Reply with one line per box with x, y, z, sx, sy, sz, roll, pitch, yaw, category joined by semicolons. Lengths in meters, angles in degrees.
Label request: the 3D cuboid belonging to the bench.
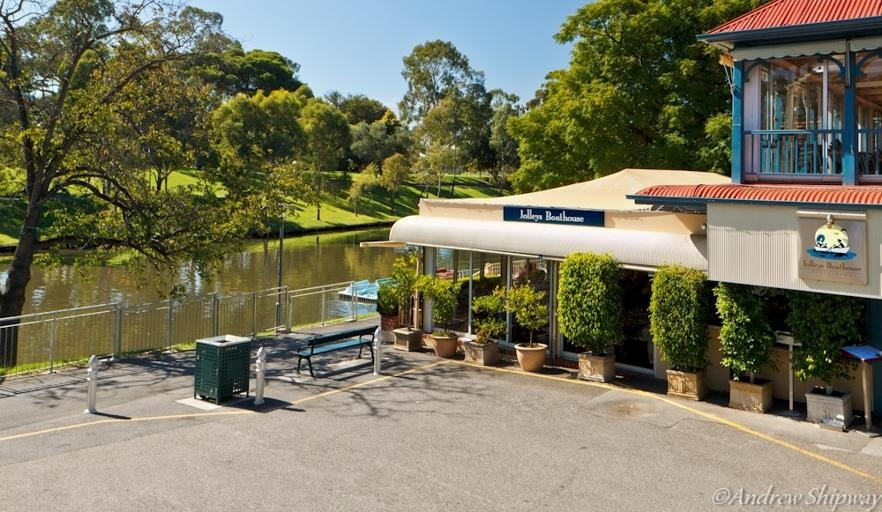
-4.142;3.574;27.190;3.542;1.609;3.000;0;-2;-30;bench
